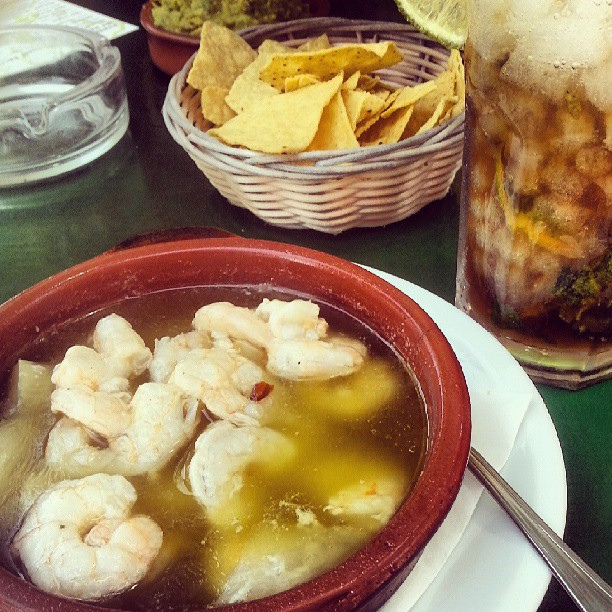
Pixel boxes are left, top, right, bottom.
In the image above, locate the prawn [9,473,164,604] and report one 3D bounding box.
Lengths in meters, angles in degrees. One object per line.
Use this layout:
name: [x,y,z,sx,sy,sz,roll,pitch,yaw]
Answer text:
prawn: [-0.200,0.207,0.760,0.120,0.095,0.158,-4,24,-12]
